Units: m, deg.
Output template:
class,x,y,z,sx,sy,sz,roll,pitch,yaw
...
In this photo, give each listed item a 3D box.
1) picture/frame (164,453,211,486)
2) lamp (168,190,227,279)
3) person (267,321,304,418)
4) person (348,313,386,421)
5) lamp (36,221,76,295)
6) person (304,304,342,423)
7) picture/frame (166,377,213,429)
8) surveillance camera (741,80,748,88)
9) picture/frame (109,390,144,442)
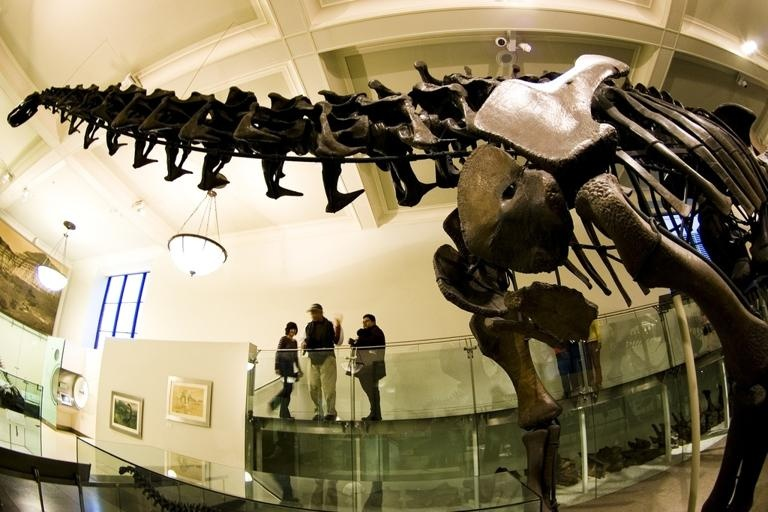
class,x,y,z,sx,sy,sz,roll,pitch,yaw
picture/frame,-1.584,1.696,4.298,0.361,0.263,0.392,5,-24,-20
lamp,-3.395,-0.404,9.766,0.895,1.754,1.784,5,-24,-19
person,-1.377,1.525,7.417,0.403,1.439,0.790,2,-23,-12
person,-0.206,1.399,6.982,0.442,1.487,0.632,-2,-23,-3
lamp,-5.895,0.078,9.707,0.620,0.540,1.509,4,-56,-48
person,-0.895,1.471,7.436,0.464,1.643,1.155,0,-23,-7
picture/frame,-2.809,2.142,7.757,0.792,0.581,0.035,-2,-12,27
surveillance camera,5.228,-2.499,7.748,0.080,0.091,0.079,1,-24,7
picture/frame,-3.982,2.482,8.270,0.813,0.686,0.035,-1,-10,29
